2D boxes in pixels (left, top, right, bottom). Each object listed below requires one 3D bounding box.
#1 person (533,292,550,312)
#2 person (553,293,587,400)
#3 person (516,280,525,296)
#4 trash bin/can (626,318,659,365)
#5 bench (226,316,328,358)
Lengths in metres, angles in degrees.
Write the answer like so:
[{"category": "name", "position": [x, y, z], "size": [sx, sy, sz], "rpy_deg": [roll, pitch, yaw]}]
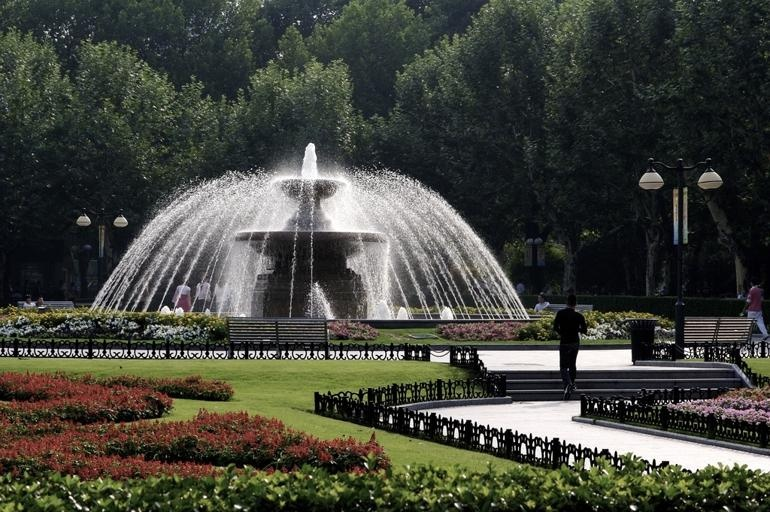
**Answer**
[{"category": "person", "position": [7.423, 2.232, 57.995], "size": [0.646, 1.124, 1.167], "rpy_deg": [6, -9, -15]}, {"category": "person", "position": [6.149, 3.004, 40.745], "size": [1.006, 3.457, 1.213], "rpy_deg": [1, -9, 9]}, {"category": "person", "position": [8.117, 1.978, 73.118], "size": [0.710, 0.721, 0.428], "rpy_deg": [8, 19, 26]}, {"category": "trash bin/can", "position": [9.163, 3.029, 43.549], "size": [0.869, 1.611, 0.581], "rpy_deg": [0, -9, 12]}, {"category": "bench", "position": [-3.760, 2.951, 43.365], "size": [3.521, 1.400, 1.125], "rpy_deg": [0, -8, 3]}]
